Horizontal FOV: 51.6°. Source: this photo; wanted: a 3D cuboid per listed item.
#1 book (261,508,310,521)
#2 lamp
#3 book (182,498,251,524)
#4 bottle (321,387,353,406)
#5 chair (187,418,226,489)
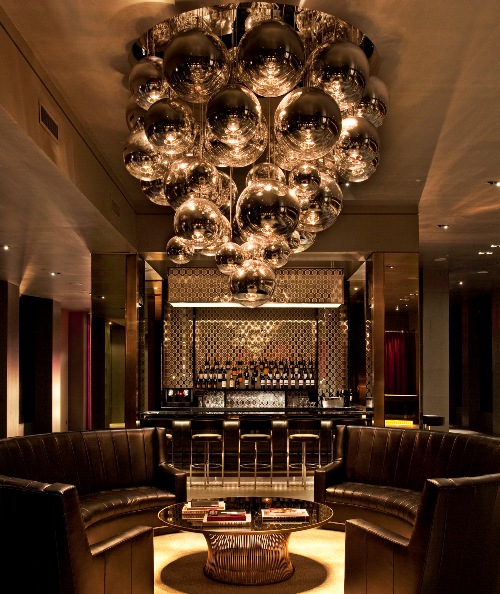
[{"bbox_3d":[0.243,1.557,3.699,0.349,0.029,0.306,-2,-12,5],"label":"book"},{"bbox_3d":[0.042,-0.865,3.426,1.146,1.666,1.374,0,-9,3],"label":"lamp"},{"bbox_3d":[-0.258,1.561,3.782,0.511,0.066,0.656,0,-12,-2],"label":"book"},{"bbox_3d":[1.648,1.929,9.850,0.410,0.348,0.347,1,-8,7],"label":"bottle"},{"bbox_3d":[-0.640,2.387,7.715,0.564,0.714,1.333,0,-10,-7],"label":"chair"}]
